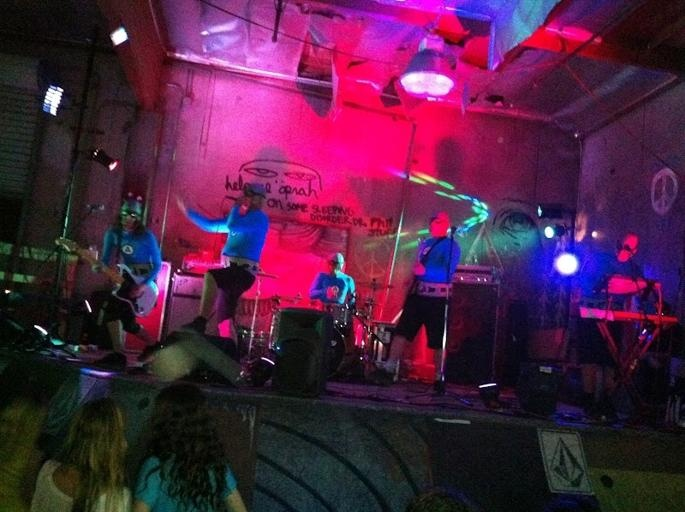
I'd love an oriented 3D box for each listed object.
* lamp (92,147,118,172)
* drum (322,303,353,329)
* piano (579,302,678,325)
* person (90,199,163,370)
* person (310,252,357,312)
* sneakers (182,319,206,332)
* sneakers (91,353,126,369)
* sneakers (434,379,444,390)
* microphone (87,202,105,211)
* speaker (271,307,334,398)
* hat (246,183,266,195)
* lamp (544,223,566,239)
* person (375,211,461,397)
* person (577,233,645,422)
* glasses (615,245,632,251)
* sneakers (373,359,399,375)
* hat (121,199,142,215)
[{"bbox_3d":[-3.609,-1.450,7.599,0.359,0.288,0.203,35,39,4],"label":"lamp"},{"bbox_3d":[-0.066,0.727,6.273,0.340,0.270,0.368,4,-13,1],"label":"drum"},{"bbox_3d":[3.275,0.696,5.864,1.211,0.225,0.419,11,-5,-10],"label":"piano"},{"bbox_3d":[-2.458,0.239,5.775,0.701,1.784,0.365,11,-5,-16],"label":"person"},{"bbox_3d":[-0.098,0.439,7.496,0.686,1.046,0.588,12,-19,-25],"label":"person"},{"bbox_3d":[-1.395,0.633,4.736,0.208,0.141,0.258,11,-5,-15],"label":"sneakers"},{"bbox_3d":[-2.266,1.035,4.882,0.269,0.111,0.156,19,9,-37],"label":"sneakers"},{"bbox_3d":[1.068,1.426,5.587,0.108,0.126,0.161,8,-5,17],"label":"sneakers"},{"bbox_3d":[-3.531,-0.703,7.172,0.253,0.069,0.282,1,0,31],"label":"microphone"},{"bbox_3d":[-0.381,0.788,4.554,0.476,0.843,0.467,6,17,-7],"label":"speaker"},{"bbox_3d":[-0.933,-0.713,5.468,0.183,0.114,0.130,17,21,-43],"label":"hat"},{"bbox_3d":[3.449,-0.406,8.178,0.313,0.253,0.339,8,-5,25],"label":"lamp"},{"bbox_3d":[1.005,0.510,6.296,0.870,2.239,1.314,9,-5,5],"label":"person"},{"bbox_3d":[3.159,0.689,6.020,0.686,2.211,1.290,6,-6,31],"label":"person"},{"bbox_3d":[3.633,-0.105,6.465,0.089,0.060,0.111,4,6,15],"label":"glasses"},{"bbox_3d":[0.555,1.413,6.409,0.251,0.192,0.201,-2,-4,14],"label":"sneakers"},{"bbox_3d":[-2.443,-0.571,5.813,0.154,0.170,0.209,4,8,-46],"label":"hat"}]
